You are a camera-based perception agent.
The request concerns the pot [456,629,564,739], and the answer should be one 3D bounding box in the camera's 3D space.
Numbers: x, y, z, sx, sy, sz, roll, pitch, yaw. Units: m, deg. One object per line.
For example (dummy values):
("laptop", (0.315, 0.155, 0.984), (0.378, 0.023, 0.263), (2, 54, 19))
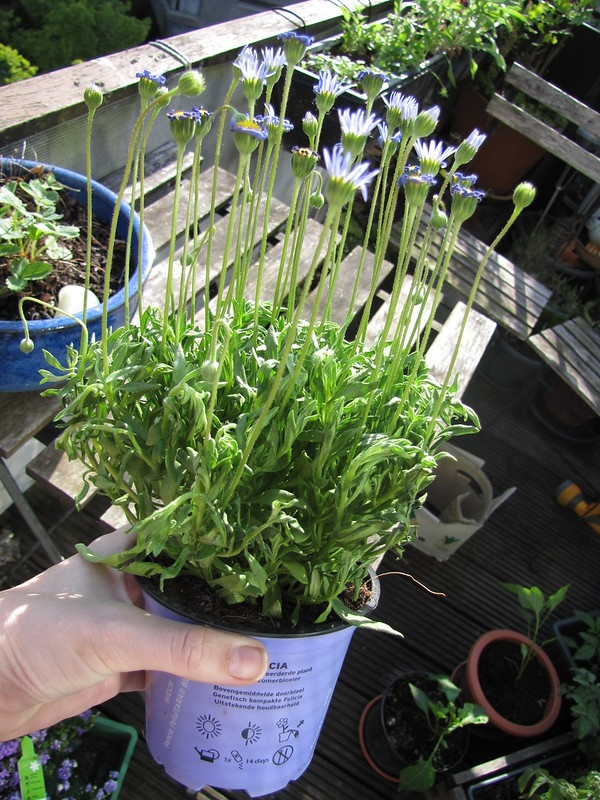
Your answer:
("pot", (0.548, 0.729, 1.698), (0.249, 0.088, 0.246), (2, 52, -3))
